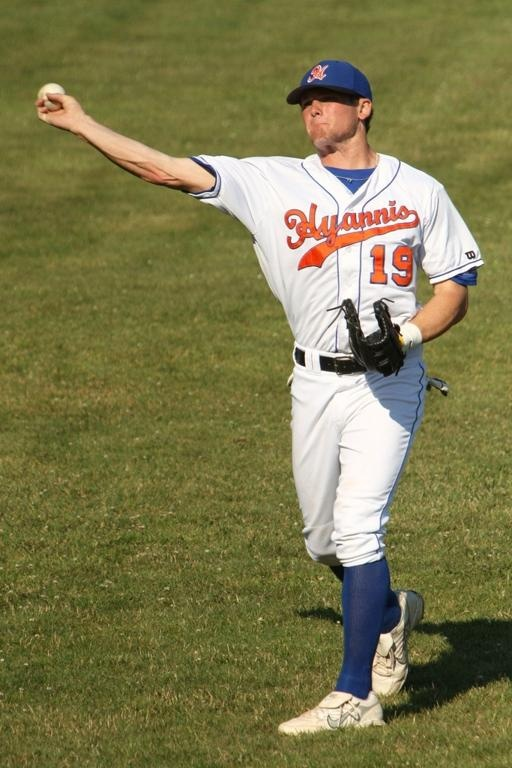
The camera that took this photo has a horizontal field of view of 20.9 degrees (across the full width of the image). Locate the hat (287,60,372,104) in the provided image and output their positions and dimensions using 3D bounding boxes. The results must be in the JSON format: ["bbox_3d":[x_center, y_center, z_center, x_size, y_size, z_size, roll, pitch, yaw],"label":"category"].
[{"bbox_3d":[0.297,-1.147,5.400,0.237,0.138,0.179,15,2,-20],"label":"hat"}]

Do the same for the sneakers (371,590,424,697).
[{"bbox_3d":[0.525,1.052,5.594,0.134,0.494,0.210,9,1,25],"label":"sneakers"}]

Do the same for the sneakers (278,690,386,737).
[{"bbox_3d":[0.279,1.196,5.201,0.380,0.172,0.151,-3,2,-14],"label":"sneakers"}]
